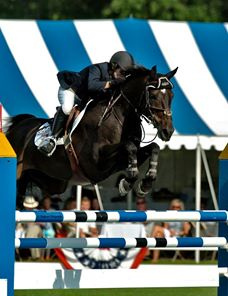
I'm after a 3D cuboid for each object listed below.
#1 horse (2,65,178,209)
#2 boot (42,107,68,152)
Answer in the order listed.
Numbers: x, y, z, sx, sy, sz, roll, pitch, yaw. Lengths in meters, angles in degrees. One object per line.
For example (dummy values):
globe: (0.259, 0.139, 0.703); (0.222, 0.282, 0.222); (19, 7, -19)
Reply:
horse: (-0.217, -0.042, 4.620); (1.577, 1.103, 0.789); (7, 43, 30)
boot: (-0.453, -0.123, 4.653); (0.107, 0.160, 0.366); (47, 111, 32)
